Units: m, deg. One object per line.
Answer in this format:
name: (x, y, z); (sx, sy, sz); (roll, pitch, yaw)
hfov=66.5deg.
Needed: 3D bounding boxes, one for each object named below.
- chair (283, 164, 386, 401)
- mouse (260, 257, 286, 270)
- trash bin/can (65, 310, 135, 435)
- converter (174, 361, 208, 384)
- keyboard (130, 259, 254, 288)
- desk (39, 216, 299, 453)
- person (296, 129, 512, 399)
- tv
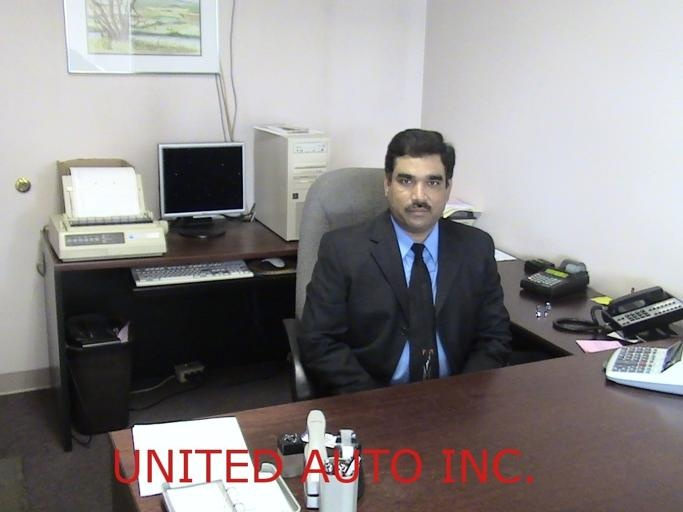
chair: (-0.084, 0.081, 2.243); (0.419, 0.892, 0.391); (-5, 25, -31)
mouse: (-0.370, 0.037, 2.853); (0.102, 0.034, 0.166); (-12, 20, -31)
trash bin/can: (-1.250, 0.612, 2.754); (0.298, 0.658, 0.322); (-5, 20, -24)
converter: (-0.963, 0.686, 3.241); (0.157, 0.083, 0.107); (-9, 27, -30)
keyboard: (-0.769, 0.087, 2.684); (0.599, 0.084, 0.197); (-8, 18, -19)
desk: (-0.890, 0.385, 2.967); (1.257, 0.913, 0.640); (-5, 13, -32)
person: (0.247, 0.045, 2.114); (0.688, 1.088, 0.734); (5, 21, -3)
tv: (-0.797, -0.403, 3.039); (0.532, 0.522, 0.384); (-8, 17, -19)
